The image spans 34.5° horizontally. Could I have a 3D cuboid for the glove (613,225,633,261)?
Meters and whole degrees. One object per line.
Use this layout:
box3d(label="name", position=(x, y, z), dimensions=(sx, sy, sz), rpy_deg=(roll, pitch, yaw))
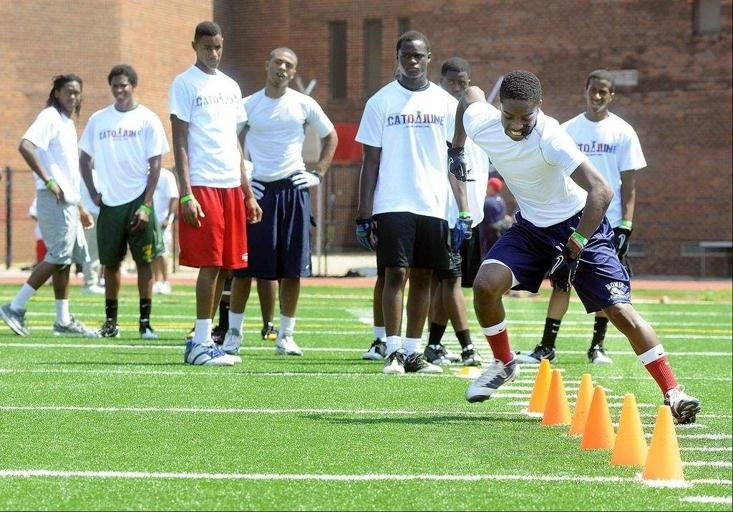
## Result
box3d(label="glove", position=(2.765, -0.147, 12.798), dimensions=(0.289, 0.365, 0.378), rpy_deg=(5, -2, 6))

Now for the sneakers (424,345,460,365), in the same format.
box3d(label="sneakers", position=(0.871, 1.084, 12.800), dimensions=(0.448, 0.179, 0.160), rpy_deg=(5, 4, 22))

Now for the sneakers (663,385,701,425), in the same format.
box3d(label="sneakers", position=(2.761, 1.321, 10.224), dimensions=(0.272, 0.247, 0.516), rpy_deg=(42, 3, 25))

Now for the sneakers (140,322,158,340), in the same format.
box3d(label="sneakers", position=(-2.565, 0.891, 13.919), dimensions=(0.277, 0.177, 0.132), rpy_deg=(-1, -1, 27))

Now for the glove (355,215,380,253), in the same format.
box3d(label="glove", position=(0.021, -0.194, 11.986), dimensions=(0.136, 0.297, 0.296), rpy_deg=(-9, -20, -11))

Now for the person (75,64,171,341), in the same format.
box3d(label="person", position=(-2.825, -0.583, 13.683), dimensions=(1.084, 3.229, 0.645), rpy_deg=(5, 10, 24))

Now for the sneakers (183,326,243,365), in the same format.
box3d(label="sneakers", position=(-1.584, 0.995, 12.116), dimensions=(0.629, 0.262, 0.236), rpy_deg=(2, -2, 0))

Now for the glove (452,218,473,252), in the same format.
box3d(label="glove", position=(0.991, -0.225, 12.101), dimensions=(0.229, 0.331, 0.163), rpy_deg=(1, 12, -7))

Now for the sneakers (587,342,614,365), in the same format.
box3d(label="sneakers", position=(2.599, 1.104, 13.132), dimensions=(0.191, 0.201, 0.480), rpy_deg=(-2, -4, 2))

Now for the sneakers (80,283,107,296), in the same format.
box3d(label="sneakers", position=(-4.547, 0.571, 19.858), dimensions=(0.470, 0.198, 0.255), rpy_deg=(1, 7, 3))

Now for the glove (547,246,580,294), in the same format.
box3d(label="glove", position=(1.722, 0.122, 10.271), dimensions=(0.213, 0.354, 0.118), rpy_deg=(10, 15, 16))

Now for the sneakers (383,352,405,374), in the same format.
box3d(label="sneakers", position=(0.292, 1.087, 11.873), dimensions=(0.171, 0.180, 0.460), rpy_deg=(1, -6, 1))

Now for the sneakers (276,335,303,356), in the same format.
box3d(label="sneakers", position=(-0.848, 1.000, 12.919), dimensions=(0.161, 0.149, 0.324), rpy_deg=(1, -3, -43))

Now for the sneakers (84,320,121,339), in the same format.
box3d(label="sneakers", position=(-3.138, 0.864, 13.948), dimensions=(0.471, 0.196, 0.159), rpy_deg=(4, 5, -24))

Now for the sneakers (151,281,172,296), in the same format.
box3d(label="sneakers", position=(-3.568, 0.589, 20.729), dimensions=(0.261, 0.278, 0.652), rpy_deg=(1, -3, -14))

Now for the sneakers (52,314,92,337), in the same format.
box3d(label="sneakers", position=(-3.450, 0.848, 13.929), dimensions=(0.570, 0.254, 0.193), rpy_deg=(2, 1, -6))

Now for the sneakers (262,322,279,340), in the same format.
box3d(label="sneakers", position=(-1.129, 0.924, 14.077), dimensions=(0.134, 0.171, 0.252), rpy_deg=(2, -6, -25))

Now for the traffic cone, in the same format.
box3d(label="traffic cone", position=(2.051, 1.379, 9.367), dimensions=(0.333, 0.553, 1.106), rpy_deg=(-5, 11, -33))

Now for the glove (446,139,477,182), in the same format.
box3d(label="glove", position=(0.912, -0.884, 11.481), dimensions=(0.307, 0.341, 0.189), rpy_deg=(-3, 14, 19))
